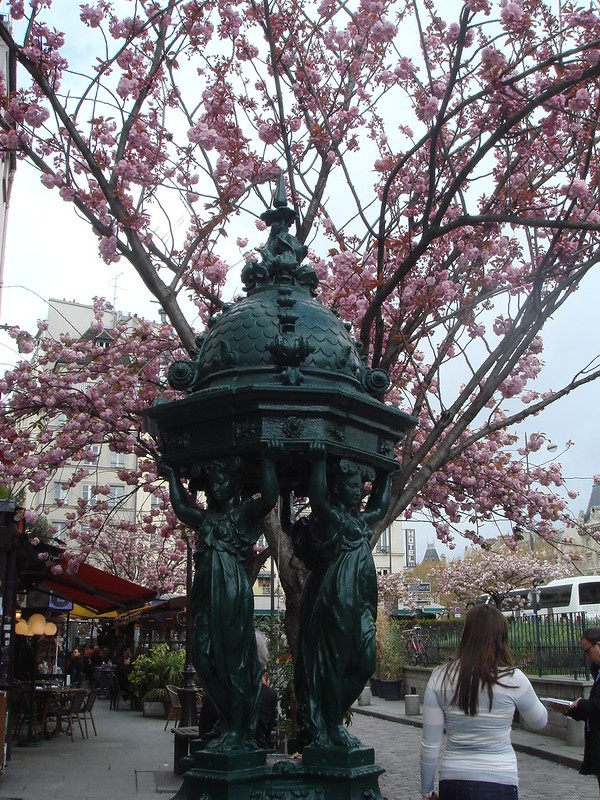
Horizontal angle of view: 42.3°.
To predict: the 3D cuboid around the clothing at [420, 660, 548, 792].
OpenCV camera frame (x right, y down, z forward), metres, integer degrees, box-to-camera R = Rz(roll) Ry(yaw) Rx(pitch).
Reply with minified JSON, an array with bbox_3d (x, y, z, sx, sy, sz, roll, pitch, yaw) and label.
[{"bbox_3d":[0.678,1.285,2.982,0.470,0.539,0.384,3,-7,25],"label":"clothing"}]
